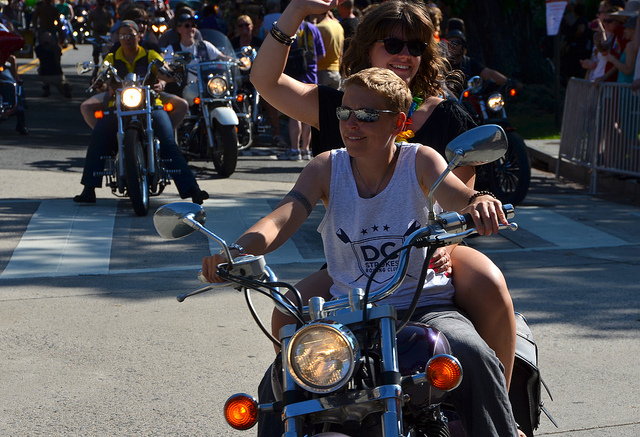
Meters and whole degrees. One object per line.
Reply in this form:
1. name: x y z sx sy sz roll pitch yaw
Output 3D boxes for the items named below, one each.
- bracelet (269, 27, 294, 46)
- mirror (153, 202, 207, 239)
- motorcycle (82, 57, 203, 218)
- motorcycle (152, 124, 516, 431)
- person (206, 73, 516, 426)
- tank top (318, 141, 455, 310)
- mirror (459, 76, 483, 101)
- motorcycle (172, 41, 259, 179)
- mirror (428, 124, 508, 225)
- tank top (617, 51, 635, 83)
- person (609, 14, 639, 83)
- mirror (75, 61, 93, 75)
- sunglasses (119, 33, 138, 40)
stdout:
1. bracelet: -0.240 -1.119 4.467 0.136 0.108 0.086 -2 13 -5
2. mirror: -0.703 0.010 3.648 0.248 0.210 0.164 -2 13 -3
3. motorcycle: -2.299 -1.330 10.276 1.525 2.015 3.268 -6 12 5
4. motorcycle: 0.345 0.388 3.964 1.312 1.357 1.853 -23 -4 14
5. person: 0.277 0.209 3.877 1.361 2.000 1.047 1 12 29
6. tank top: 0.349 0.034 3.744 0.715 0.984 0.546 -6 -2 4
7. mirror: 2.112 -1.843 10.055 0.383 0.161 0.209 -40 34 -22
8. motorcycle: -1.969 -2.046 12.523 1.620 1.948 3.386 -5 20 -23
9. mirror: 0.668 -0.228 3.524 0.434 0.444 0.209 -7 14 -23
10. tank top: 4.378 -2.205 10.521 0.191 0.425 0.561 2 14 11
11. person: 4.353 -2.444 10.438 0.328 0.929 0.649 0 13 5
12. mirror: -3.058 -1.961 9.470 0.185 0.153 0.792 -5 14 -16
13. sunglasses: -2.628 -2.509 9.993 0.229 0.083 0.111 -4 14 -15
